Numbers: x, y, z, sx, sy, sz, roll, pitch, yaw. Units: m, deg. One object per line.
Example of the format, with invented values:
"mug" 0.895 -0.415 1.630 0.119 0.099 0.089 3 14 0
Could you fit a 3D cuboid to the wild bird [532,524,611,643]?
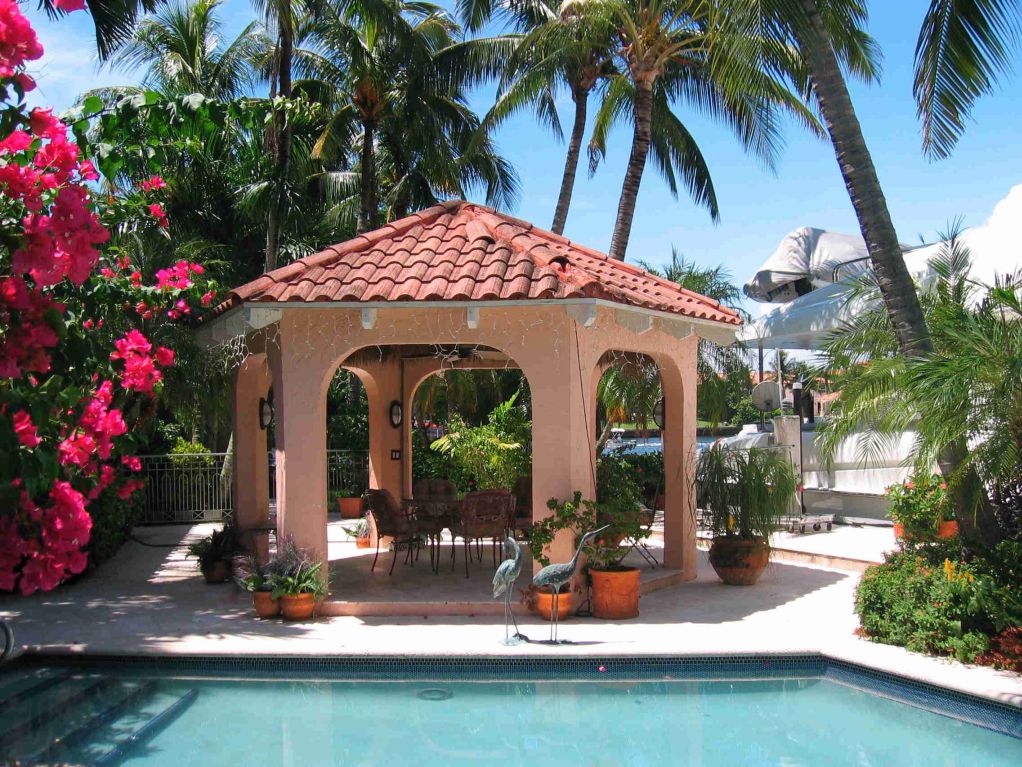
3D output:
"wild bird" 0.684 2.207 9.986 0.855 1.294 1.508 0 8 7
